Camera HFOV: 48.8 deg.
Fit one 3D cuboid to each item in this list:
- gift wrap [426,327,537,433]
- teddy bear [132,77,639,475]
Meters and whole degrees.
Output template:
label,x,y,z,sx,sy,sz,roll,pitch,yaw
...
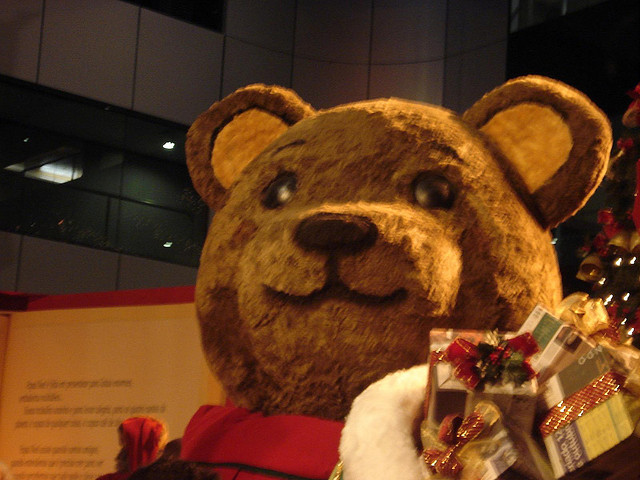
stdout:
label,x,y,z,sx,sy,sz,roll,pitch,yaw
gift wrap,0.390,0.301,1.715,0.242,0.218,0.147,4,20,11
teddy bear,0.217,-0.032,2.299,1.499,1.489,0.783,-13,-19,34
